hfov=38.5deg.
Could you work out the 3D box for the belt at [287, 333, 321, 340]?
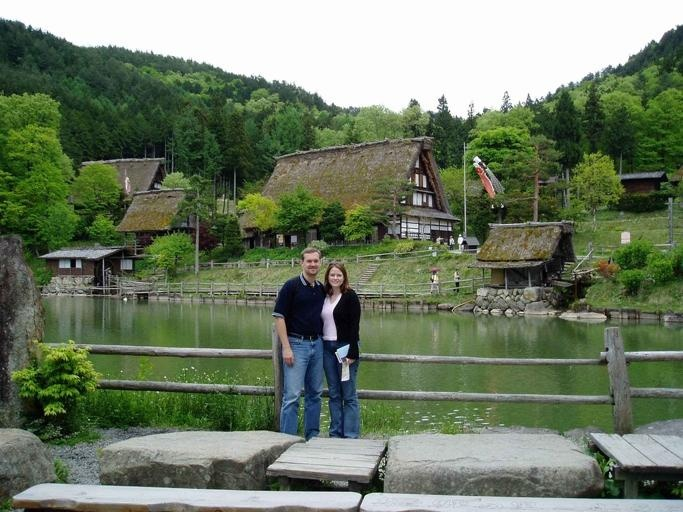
[{"bbox_3d":[-1.487,3.252,39.661,1.327,0.329,0.120,-2,-1,-8],"label":"belt"}]
